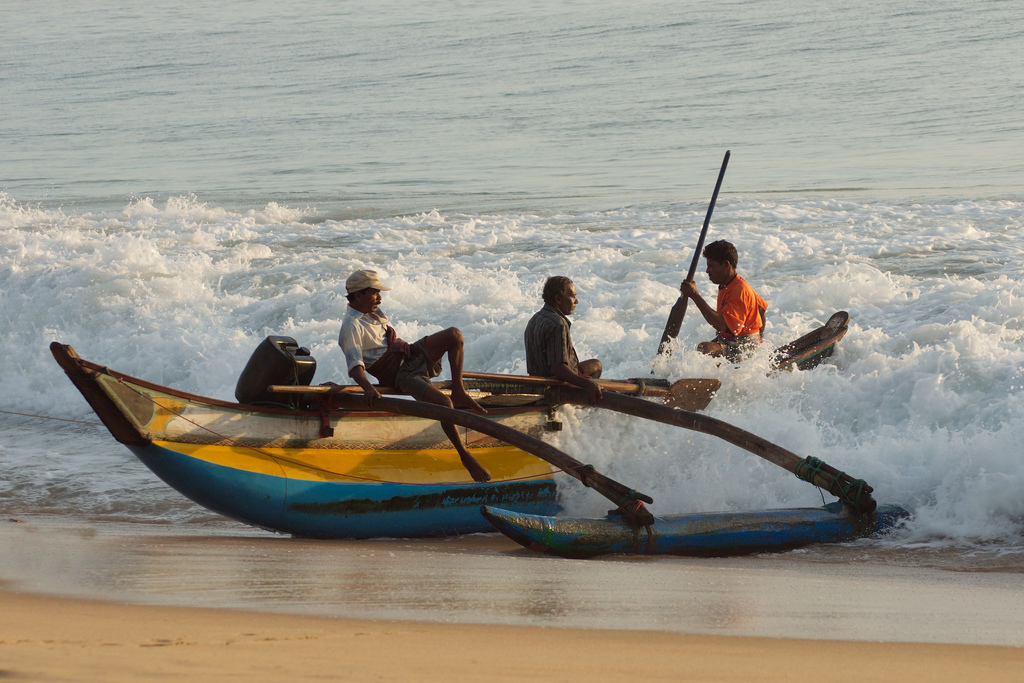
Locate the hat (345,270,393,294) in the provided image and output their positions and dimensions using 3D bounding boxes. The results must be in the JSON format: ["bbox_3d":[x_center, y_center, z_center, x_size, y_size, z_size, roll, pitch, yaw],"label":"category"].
[{"bbox_3d":[-2.179,-0.926,24.311,0.652,0.256,0.349,-2,8,-11],"label":"hat"}]
